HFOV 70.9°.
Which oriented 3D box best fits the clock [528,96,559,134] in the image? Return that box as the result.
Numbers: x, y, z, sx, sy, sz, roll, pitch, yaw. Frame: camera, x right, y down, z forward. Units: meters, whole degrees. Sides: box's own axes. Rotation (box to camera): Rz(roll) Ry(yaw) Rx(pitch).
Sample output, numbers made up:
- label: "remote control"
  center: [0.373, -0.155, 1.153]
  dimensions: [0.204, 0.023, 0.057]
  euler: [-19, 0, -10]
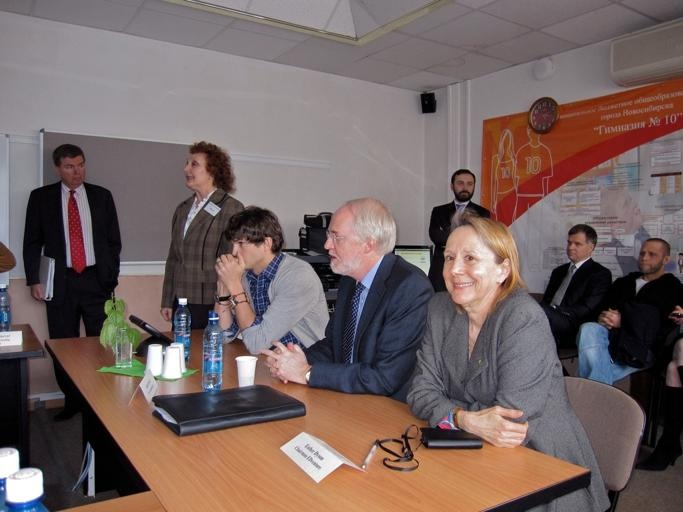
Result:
- label: "clock"
  center: [2.154, -1.499, 5.100]
  dimensions: [0.073, 0.486, 0.402]
  euler: [4, -5, -31]

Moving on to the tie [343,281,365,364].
- label: "tie"
  center: [0.074, 0.295, 2.187]
  dimensions: [0.090, 0.364, 0.086]
  euler: [8, -19, 9]

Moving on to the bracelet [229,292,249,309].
- label: "bracelet"
  center: [-0.521, 0.228, 2.441]
  dimensions: [0.071, 0.034, 0.072]
  euler: [-22, -15, 29]

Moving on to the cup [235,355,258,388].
- label: "cup"
  center: [-0.369, 0.442, 1.864]
  dimensions: [0.100, 0.117, 0.105]
  euler: [3, -1, 0]

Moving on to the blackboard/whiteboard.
- label: "blackboard/whiteboard"
  center: [-2.024, -0.519, 4.372]
  dimensions: [0.043, 1.101, 1.463]
  euler: [-1, 7, 17]

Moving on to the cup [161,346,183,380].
- label: "cup"
  center: [-0.687, 0.437, 1.962]
  dimensions: [0.089, 0.120, 0.119]
  euler: [1, -1, -30]

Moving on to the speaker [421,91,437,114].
- label: "speaker"
  center: [1.108, -1.963, 6.123]
  dimensions: [0.209, 0.269, 0.164]
  euler: [-1, 3, 11]

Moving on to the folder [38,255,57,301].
- label: "folder"
  center: [-2.361, 0.186, 3.838]
  dimensions: [0.207, 0.362, 0.064]
  euler: [1, 4, 40]

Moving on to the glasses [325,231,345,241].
- label: "glasses"
  center: [-0.019, -0.080, 2.113]
  dimensions: [0.093, 0.033, 0.093]
  euler: [5, 6, -26]

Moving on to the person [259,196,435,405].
- label: "person"
  center: [-0.137, 0.165, 2.362]
  dimensions: [0.789, 1.169, 0.771]
  euler: [2, -2, -15]

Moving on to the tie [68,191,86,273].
- label: "tie"
  center: [-2.166, -0.202, 3.924]
  dimensions: [0.109, 0.663, 0.100]
  euler: [-4, 3, -32]

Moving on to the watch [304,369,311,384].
- label: "watch"
  center: [-0.133, 0.479, 1.898]
  dimensions: [0.017, 0.046, 0.038]
  euler: [29, 44, 13]

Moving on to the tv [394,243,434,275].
- label: "tv"
  center: [0.638, 0.025, 4.150]
  dimensions: [0.315, 0.342, 0.025]
  euler: [1, -2, -6]
